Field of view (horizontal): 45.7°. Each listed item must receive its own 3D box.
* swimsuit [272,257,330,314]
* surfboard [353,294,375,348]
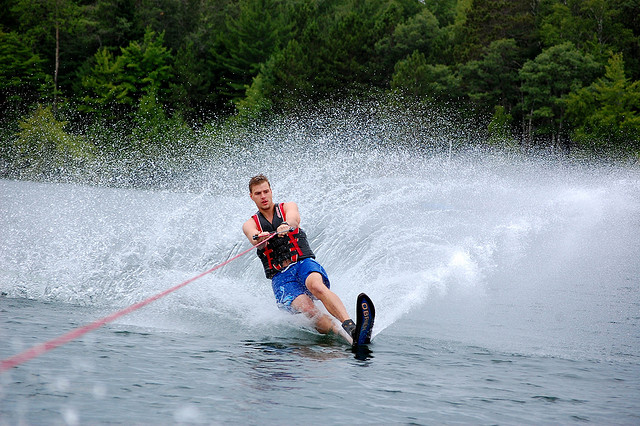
[{"bbox_3d":[-0.365,1.052,11.765,0.806,0.878,0.492,-26,-4,21],"label":"swimsuit"},{"bbox_3d":[0.647,1.618,10.909,0.277,0.137,1.191,-9,21,9],"label":"surfboard"}]
